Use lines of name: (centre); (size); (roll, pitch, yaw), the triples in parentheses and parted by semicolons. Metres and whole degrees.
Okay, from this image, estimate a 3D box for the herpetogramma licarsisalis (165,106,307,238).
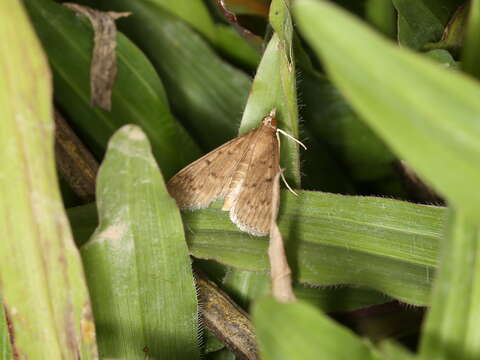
herpetogramma licarsisalis: (-0.007, -0.022, 1.010); (0.193, 0.148, 0.243); (15, 41, 26)
